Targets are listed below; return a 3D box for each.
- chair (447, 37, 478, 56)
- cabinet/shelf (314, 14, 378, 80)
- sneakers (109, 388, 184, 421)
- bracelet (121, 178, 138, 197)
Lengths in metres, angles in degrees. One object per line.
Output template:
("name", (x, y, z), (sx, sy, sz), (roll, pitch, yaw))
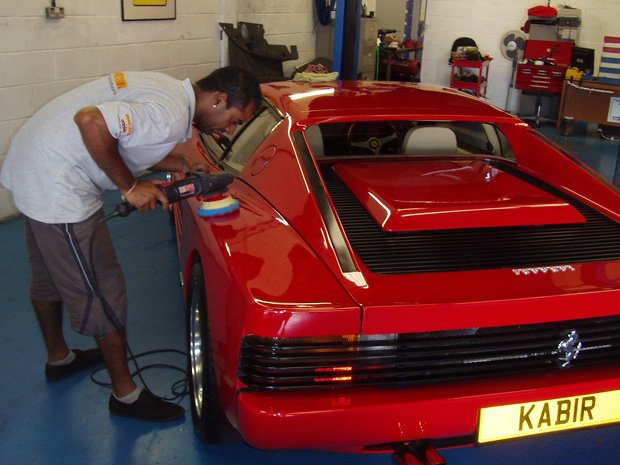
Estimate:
("chair", (3.145, -3.808, 9.231), (0.462, 0.296, 0.523), (3, 22, 4))
("cabinet/shelf", (0.781, -3.222, 8.021), (0.823, 0.983, 1.058), (-19, 30, -39))
("sneakers", (-0.760, 0.821, 2.114), (0.383, 0.109, 0.133), (4, 10, -1))
("bracelet", (-0.683, -0.168, 1.738), (0.016, 0.060, 0.060), (51, 21, -12))
